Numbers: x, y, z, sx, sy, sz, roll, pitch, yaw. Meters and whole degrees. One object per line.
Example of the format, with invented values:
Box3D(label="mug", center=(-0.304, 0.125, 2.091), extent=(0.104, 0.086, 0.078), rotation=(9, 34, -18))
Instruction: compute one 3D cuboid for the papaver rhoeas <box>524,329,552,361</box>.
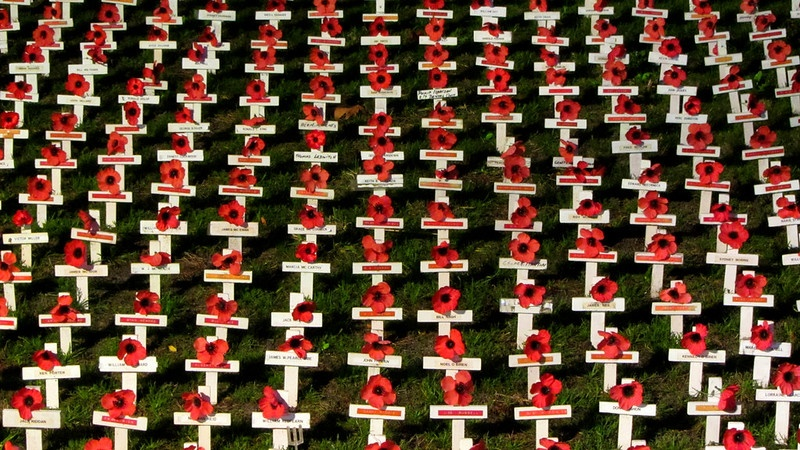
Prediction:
Box3D(label="papaver rhoeas", center=(1.330, 1.154, 19.019), extent=(0.356, 0.320, 0.147), rotation=(6, 29, -15))

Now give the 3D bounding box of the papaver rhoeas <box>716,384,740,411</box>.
Box3D(label="papaver rhoeas", center=(3.218, 1.668, 18.966), extent=(0.135, 0.230, 0.226), rotation=(14, 91, 18))

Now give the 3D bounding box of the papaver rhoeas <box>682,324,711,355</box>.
Box3D(label="papaver rhoeas", center=(2.900, 1.113, 19.078), extent=(0.124, 0.315, 0.258), rotation=(-13, 87, 15))

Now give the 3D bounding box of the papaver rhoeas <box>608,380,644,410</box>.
Box3D(label="papaver rhoeas", center=(2.244, 1.656, 18.967), extent=(0.303, 0.094, 0.268), rotation=(-22, 84, -2))
